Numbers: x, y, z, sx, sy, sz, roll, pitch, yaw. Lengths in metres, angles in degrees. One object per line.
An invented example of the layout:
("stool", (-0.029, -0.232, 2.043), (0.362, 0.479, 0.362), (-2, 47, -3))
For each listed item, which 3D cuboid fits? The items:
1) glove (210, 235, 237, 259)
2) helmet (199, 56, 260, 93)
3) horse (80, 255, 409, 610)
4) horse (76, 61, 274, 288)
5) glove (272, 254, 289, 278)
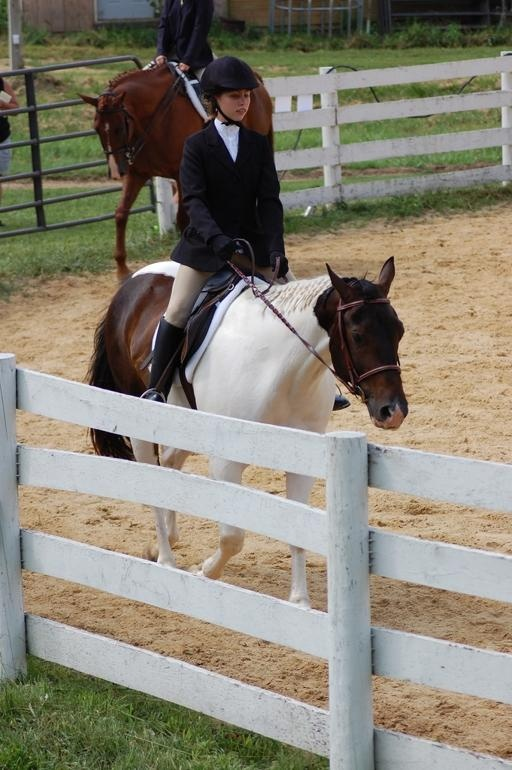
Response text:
("glove", (-0.122, -0.537, 4.198), (0.076, 0.096, 0.047), (-17, -8, 36))
("helmet", (-0.113, -1.240, 4.264), (0.151, 0.100, 0.201), (-15, 25, -16))
("horse", (-0.077, 0.189, 4.326), (0.493, 1.403, 2.059), (0, 8, -29))
("horse", (-0.590, -2.056, 9.689), (0.697, 1.844, 2.746), (12, 29, 27))
("glove", (0.109, -0.479, 4.290), (0.038, 0.090, 0.068), (-10, 7, -19))
